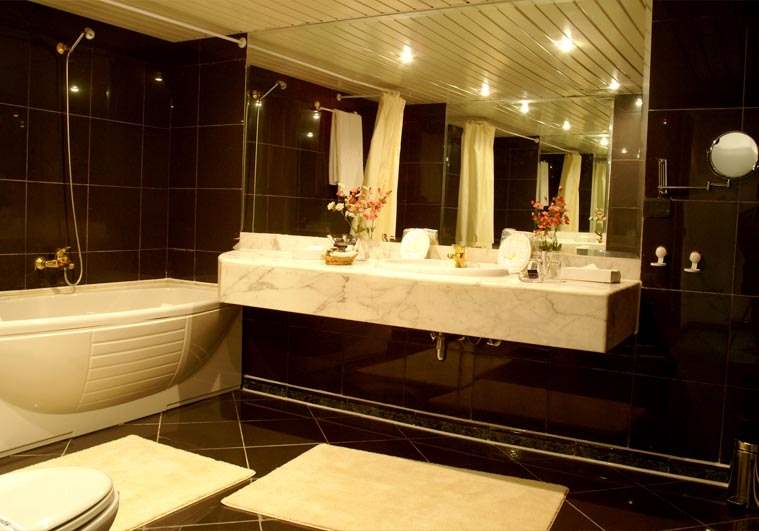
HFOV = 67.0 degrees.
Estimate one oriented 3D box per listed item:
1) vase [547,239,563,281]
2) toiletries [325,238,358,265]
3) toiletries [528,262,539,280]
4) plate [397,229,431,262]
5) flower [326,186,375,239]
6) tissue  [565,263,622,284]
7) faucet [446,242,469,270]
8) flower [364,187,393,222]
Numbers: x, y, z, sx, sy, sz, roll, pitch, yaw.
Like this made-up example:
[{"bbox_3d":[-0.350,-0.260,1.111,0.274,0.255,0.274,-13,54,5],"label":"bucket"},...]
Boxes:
[{"bbox_3d":[1.047,-0.038,3.469,0.115,0.184,0.414,5,12,16],"label":"vase"},{"bbox_3d":[-0.266,-0.096,3.856,0.167,0.105,0.201,-1,3,-2],"label":"toiletries"},{"bbox_3d":[0.871,0.028,3.257,0.057,0.090,0.045,4,11,9],"label":"toiletries"},{"bbox_3d":[0.244,-0.139,3.964,0.206,0.209,0.049,5,-1,30],"label":"plate"},{"bbox_3d":[-0.156,-0.352,4.329,0.402,0.438,0.354,-3,-4,12],"label":"flower"},{"bbox_3d":[1.232,0.055,3.345,0.331,0.088,0.137,6,12,19],"label":"tissue "},{"bbox_3d":[0.507,-0.054,3.769,0.114,0.158,0.152,4,5,44],"label":"faucet"},{"bbox_3d":[-0.015,-0.457,4.209,0.211,0.216,0.125,-2,19,-11],"label":"flower"}]
